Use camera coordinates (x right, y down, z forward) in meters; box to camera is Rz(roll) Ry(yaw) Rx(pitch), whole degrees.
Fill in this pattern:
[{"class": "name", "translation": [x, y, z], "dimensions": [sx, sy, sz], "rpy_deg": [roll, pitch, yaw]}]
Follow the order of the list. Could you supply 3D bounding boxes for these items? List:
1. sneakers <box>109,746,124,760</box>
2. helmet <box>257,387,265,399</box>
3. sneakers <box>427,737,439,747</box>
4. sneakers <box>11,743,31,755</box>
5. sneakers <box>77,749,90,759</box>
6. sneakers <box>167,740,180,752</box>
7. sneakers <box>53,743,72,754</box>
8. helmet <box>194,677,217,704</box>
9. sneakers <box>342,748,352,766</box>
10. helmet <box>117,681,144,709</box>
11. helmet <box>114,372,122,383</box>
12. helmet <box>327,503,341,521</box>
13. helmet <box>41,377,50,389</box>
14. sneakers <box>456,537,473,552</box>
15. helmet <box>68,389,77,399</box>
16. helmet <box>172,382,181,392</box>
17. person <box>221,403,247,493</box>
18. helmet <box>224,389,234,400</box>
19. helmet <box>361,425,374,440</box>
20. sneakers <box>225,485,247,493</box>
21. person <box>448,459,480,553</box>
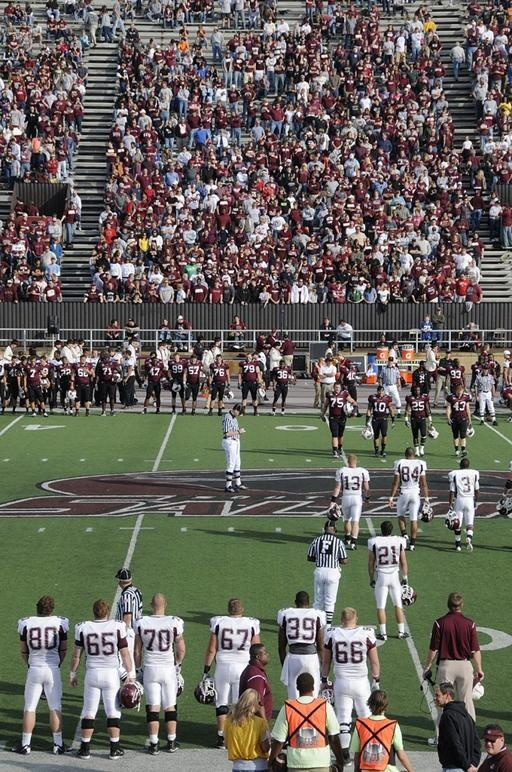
[{"class": "sneakers", "translation": [-1.337, 3.517, 15.853], "dimensions": [0.066, 0.159, 0.195], "rpy_deg": [2, 4, 29]}, {"class": "helmet", "translation": [0.143, 0.059, 37.924], "dimensions": [0.158, 0.268, 0.336], "rpy_deg": [-6, -19, -3]}, {"class": "sneakers", "translation": [1.750, 3.487, 16.191], "dimensions": [0.121, 0.104, 0.067], "rpy_deg": [-8, 16, -23]}, {"class": "sneakers", "translation": [-2.269, 3.487, 15.927], "dimensions": [0.074, 0.110, 0.201], "rpy_deg": [3, 4, -42]}, {"class": "sneakers", "translation": [-1.648, 3.514, 15.848], "dimensions": [0.126, 0.105, 0.166], "rpy_deg": [-3, 6, -12]}, {"class": "sneakers", "translation": [-0.808, 3.504, 16.020], "dimensions": [0.054, 0.088, 0.173], "rpy_deg": [2, 5, 3]}, {"class": "sneakers", "translation": [-1.874, 3.516, 15.979], "dimensions": [0.071, 0.106, 0.208], "rpy_deg": [7, 9, 39]}, {"class": "helmet", "translation": [-0.483, 2.967, 15.992], "dimensions": [0.199, 0.245, 0.233], "rpy_deg": [-2, 5, -2]}, {"class": "sneakers", "translation": [0.895, 3.586, 15.963], "dimensions": [0.074, 0.129, 0.280], "rpy_deg": [2, 6, 4]}, {"class": "helmet", "translation": [-1.216, 2.977, 15.931], "dimensions": [0.210, 0.260, 0.330], "rpy_deg": [-1, 6, 6]}, {"class": "helmet", "translation": [-3.197, -0.206, 38.424], "dimensions": [0.136, 0.236, 0.190], "rpy_deg": [-6, 12, -7]}, {"class": "helmet", "translation": [0.987, 1.594, 20.510], "dimensions": [0.161, 0.219, 0.238], "rpy_deg": [6, 9, 30]}, {"class": "helmet", "translation": [-4.851, -0.088, 38.013], "dimensions": [0.136, 0.184, 0.199], "rpy_deg": [0, -31, -3]}, {"class": "sneakers", "translation": [3.021, 2.281, 23.740], "dimensions": [0.119, 0.317, 0.405], "rpy_deg": [-2, -5, 14]}, {"class": "helmet", "translation": [-4.249, 0.172, 38.173], "dimensions": [0.230, 0.256, 0.403], "rpy_deg": [-2, 6, -8]}, {"class": "helmet", "translation": [-1.842, 0.021, 38.380], "dimensions": [0.138, 0.248, 0.218], "rpy_deg": [3, -3, -1]}, {"class": "person", "translation": [-0.379, 1.148, 29.136], "dimensions": [0.412, 1.650, 0.567], "rpy_deg": [-3, 32, -3]}, {"class": "helmet", "translation": [-0.632, 0.192, 38.643], "dimensions": [0.140, 0.252, 0.100], "rpy_deg": [-2, 9, 2]}, {"class": "helmet", "translation": [2.178, 0.848, 31.693], "dimensions": [0.204, 0.291, 0.554], "rpy_deg": [-1, 6, 3]}, {"class": "sneakers", "translation": [-0.318, 1.739, 27.929], "dimensions": [0.371, 0.210, 0.138], "rpy_deg": [-7, -1, 34]}, {"class": "person", "translation": [2.998, 1.668, 23.607], "dimensions": [0.384, 1.493, 1.956], "rpy_deg": [-1, 6, 7]}]
